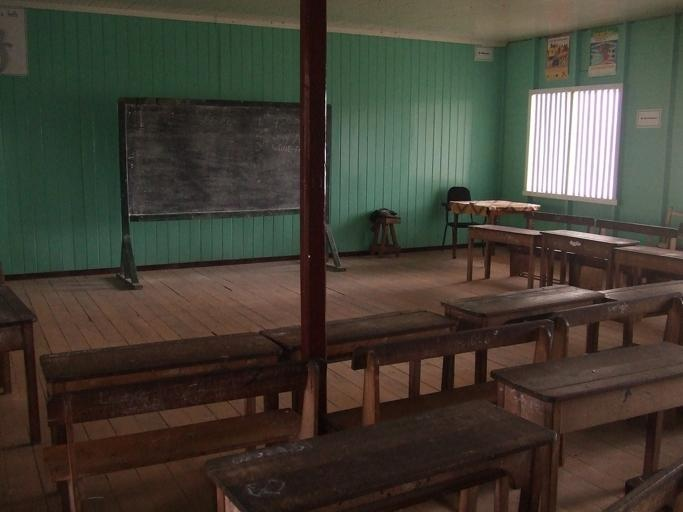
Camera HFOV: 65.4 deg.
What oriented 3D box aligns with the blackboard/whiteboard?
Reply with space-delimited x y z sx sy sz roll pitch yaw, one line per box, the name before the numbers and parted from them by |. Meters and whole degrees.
blackboard/whiteboard | -1.773 -1.327 7.106 2.446 1.309 0.096 -2 7 -27
